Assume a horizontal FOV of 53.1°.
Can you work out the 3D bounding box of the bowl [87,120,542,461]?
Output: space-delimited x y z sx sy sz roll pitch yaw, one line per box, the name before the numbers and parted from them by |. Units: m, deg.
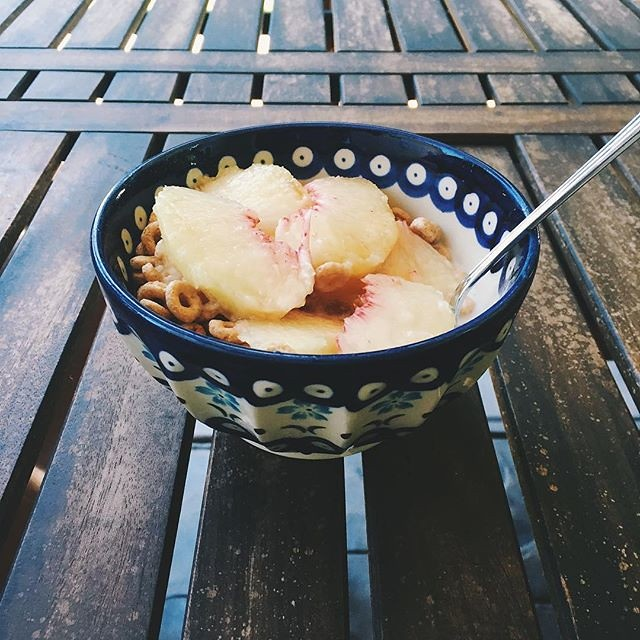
bowl | 0.016 -0.016 0.608 0.432 0.161 0.355 0 34 -1
